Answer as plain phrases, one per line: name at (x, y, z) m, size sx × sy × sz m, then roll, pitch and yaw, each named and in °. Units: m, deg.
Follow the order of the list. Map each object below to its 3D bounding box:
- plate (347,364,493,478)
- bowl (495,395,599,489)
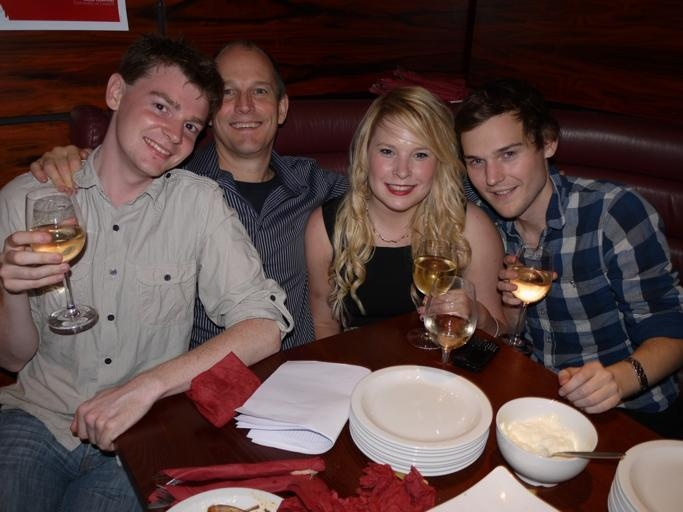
plate at (0.234, 0.479, 1.450) m, size 0.411 × 0.149 × 0.328 m, roll -4°, pitch 22°, yaw -2°
bowl at (0.566, 0.503, 1.377) m, size 0.254 × 0.151 × 0.245 m, roll 4°, pitch 24°, yaw -2°
